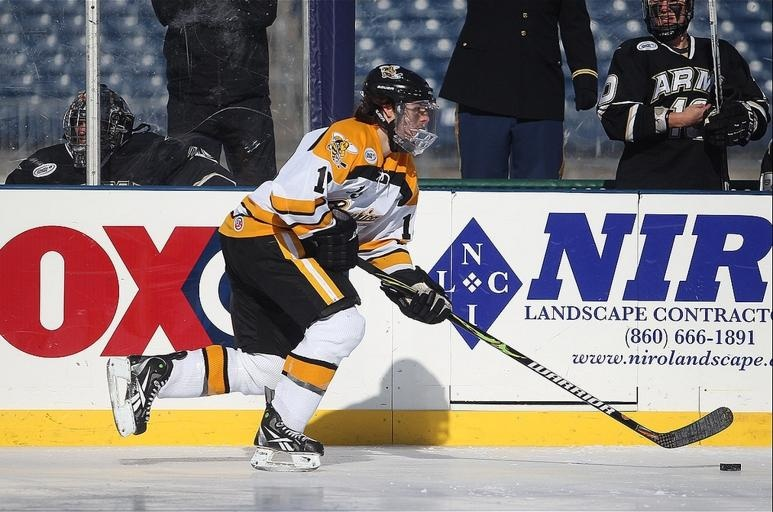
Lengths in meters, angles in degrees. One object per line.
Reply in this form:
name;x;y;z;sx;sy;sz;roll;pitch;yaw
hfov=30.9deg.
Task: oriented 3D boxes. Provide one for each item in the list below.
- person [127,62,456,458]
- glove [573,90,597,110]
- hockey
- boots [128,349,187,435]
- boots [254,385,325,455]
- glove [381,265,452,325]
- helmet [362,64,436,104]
person;-0.469;0.060;7.180;1.611;2.021;0.585;1;15;0
glove;1.145;-0.889;8.036;0.127;0.038;0.089;-12;-4;22
hockey;0.795;0.579;7.694;2.283;0.171;0.283;22;-30;20
boots;-1.221;0.716;7.370;0.394;0.452;0.164;6;-9;-4
boots;-0.481;0.860;7.182;0.445;0.312;0.142;5;3;34
glove;0.180;0.214;7.308;0.356;0.154;0.255;24;17;-25
helmet;0.080;-0.892;7.183;0.305;0.204;0.213;8;21;-3
